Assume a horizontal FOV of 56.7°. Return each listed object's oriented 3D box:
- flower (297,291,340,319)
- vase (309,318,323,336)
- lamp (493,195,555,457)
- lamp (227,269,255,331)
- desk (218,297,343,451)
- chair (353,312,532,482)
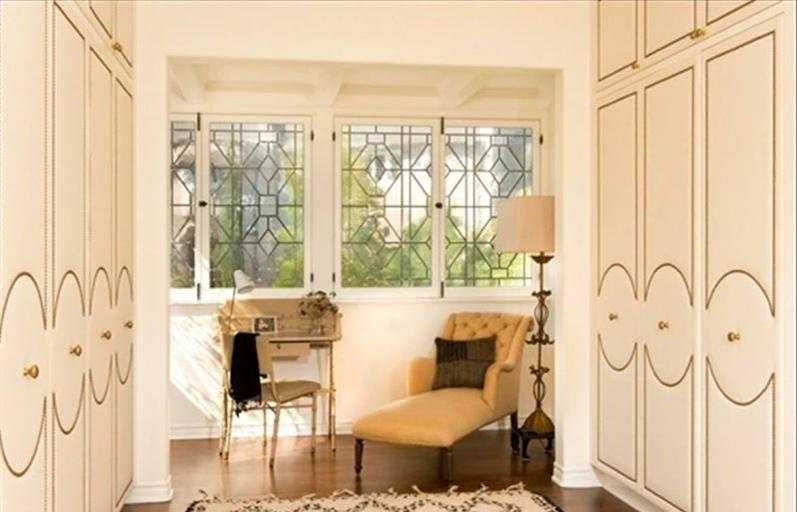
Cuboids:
[{"bbox_3d":[-0.763,0.460,6.791,0.306,0.218,0.280,3,1,27],"label":"flower"},{"bbox_3d":[-0.755,0.659,6.781,0.083,0.153,0.086,-7,-32,4],"label":"vase"},{"bbox_3d":[1.075,0.577,6.311,0.505,2.164,0.960,1,6,11],"label":"lamp"},{"bbox_3d":[-1.443,0.397,6.702,0.221,0.556,0.548,-2,6,-13],"label":"lamp"},{"bbox_3d":[-1.075,0.990,6.494,0.922,1.140,0.786,-2,-3,-13],"label":"desk"},{"bbox_3d":[0.439,1.117,6.312,0.983,1.204,1.687,-4,-2,34],"label":"chair"}]
